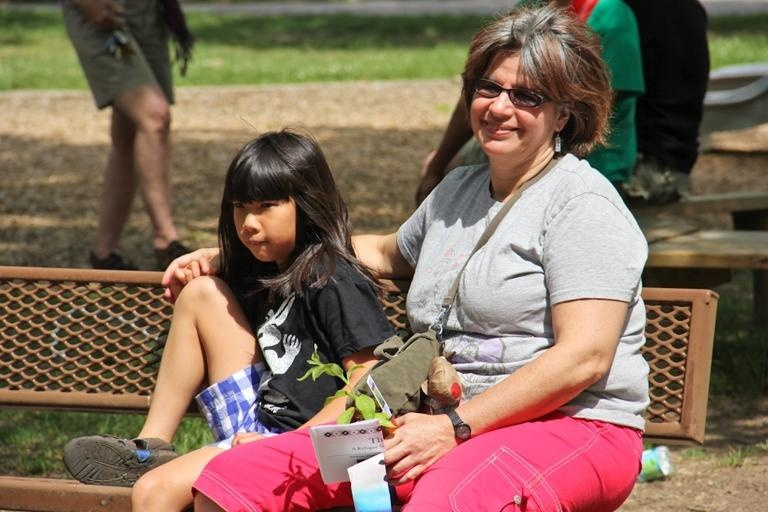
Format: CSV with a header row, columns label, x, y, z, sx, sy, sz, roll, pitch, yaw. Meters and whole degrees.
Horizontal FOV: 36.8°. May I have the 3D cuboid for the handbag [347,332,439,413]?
label,x,y,z,sx,sy,sz,roll,pitch,yaw
handbag,0.045,0.533,5.210,0.279,0.223,0.366,-10,35,55

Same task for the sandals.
label,x,y,z,sx,sy,sz,roll,pitch,yaw
sandals,-1.253,0.936,5.339,0.517,0.195,0.217,5,-2,3
